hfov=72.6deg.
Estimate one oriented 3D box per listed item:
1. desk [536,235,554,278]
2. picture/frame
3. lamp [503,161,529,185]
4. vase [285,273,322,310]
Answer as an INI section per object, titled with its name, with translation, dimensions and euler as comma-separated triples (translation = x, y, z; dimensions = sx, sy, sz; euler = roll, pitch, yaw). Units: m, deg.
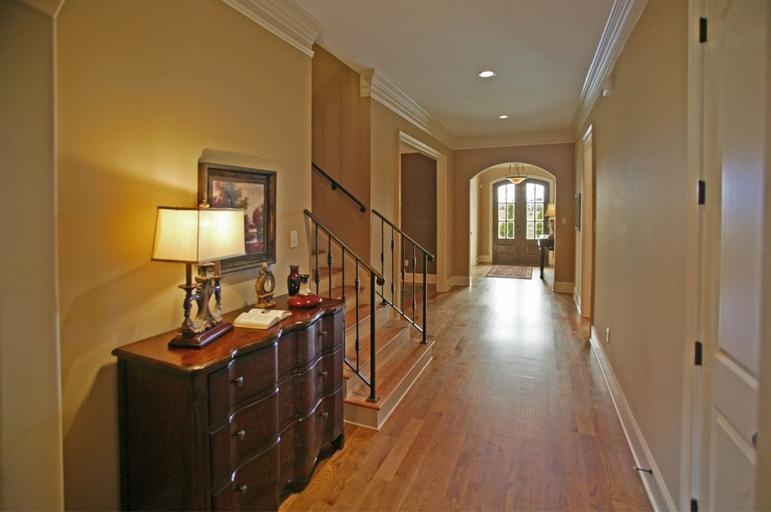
[desk]
translation = 3.386, 0.027, 11.094
dimensions = 0.271, 0.687, 0.777
euler = 3, 7, 23
[picture/frame]
translation = -1.025, -0.265, 3.537
dimensions = 0.058, 0.829, 0.819
euler = 3, 4, 26
[lamp]
translation = 2.915, -1.859, 11.650
dimensions = 0.502, 0.633, 0.524
euler = 1, 5, 30
[vase]
translation = -0.576, 0.254, 3.747
dimensions = 0.343, 0.220, 0.356
euler = -1, 7, -8
